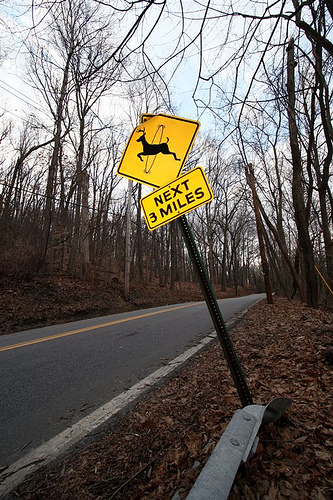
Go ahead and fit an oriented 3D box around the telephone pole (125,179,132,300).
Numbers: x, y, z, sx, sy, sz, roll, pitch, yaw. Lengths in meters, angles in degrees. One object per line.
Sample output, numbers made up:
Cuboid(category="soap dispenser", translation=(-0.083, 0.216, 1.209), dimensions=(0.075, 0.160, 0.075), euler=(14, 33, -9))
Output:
Cuboid(category="telephone pole", translation=(-1.649, -0.153, 15.023), dimensions=(0.557, 6.662, 0.694), euler=(-1, 6, -14))
